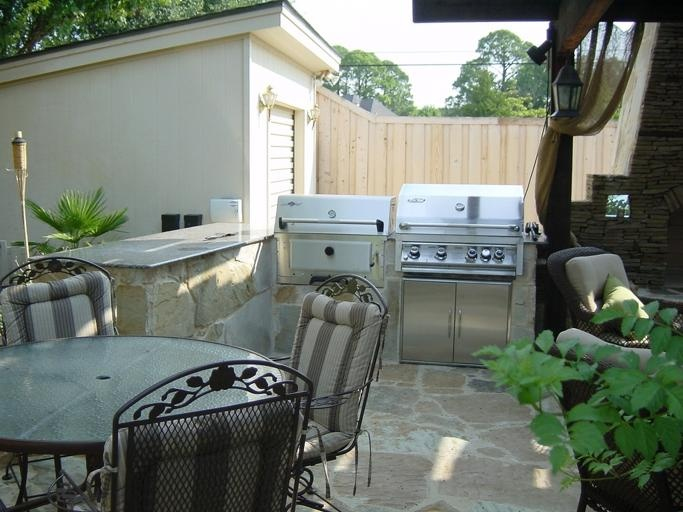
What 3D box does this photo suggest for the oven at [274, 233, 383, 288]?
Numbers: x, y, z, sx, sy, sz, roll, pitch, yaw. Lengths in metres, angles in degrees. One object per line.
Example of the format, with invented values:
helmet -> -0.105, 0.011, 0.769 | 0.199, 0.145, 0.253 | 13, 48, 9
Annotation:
oven -> -0.168, 0.035, 5.371 | 1.114, 0.508, 0.646 | 2, -2, -8

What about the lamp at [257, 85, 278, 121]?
lamp -> -0.892, -1.813, 6.254 | 0.192, 0.371, 0.443 | -1, 8, -11

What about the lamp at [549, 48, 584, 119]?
lamp -> 1.884, -1.425, 4.427 | 0.258, 0.554, 0.294 | 6, 12, 16
